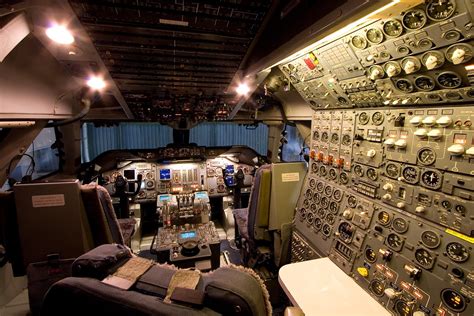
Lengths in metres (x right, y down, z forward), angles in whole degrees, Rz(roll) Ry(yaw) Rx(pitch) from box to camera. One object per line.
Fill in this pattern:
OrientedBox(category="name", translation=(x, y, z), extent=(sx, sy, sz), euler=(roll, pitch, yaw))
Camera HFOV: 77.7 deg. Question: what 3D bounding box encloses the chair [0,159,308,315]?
OrientedBox(category="chair", translation=(-1.192, 1.069, 4.179), extent=(2.271, 1.341, 1.568), euler=(-1, 10, -4))
